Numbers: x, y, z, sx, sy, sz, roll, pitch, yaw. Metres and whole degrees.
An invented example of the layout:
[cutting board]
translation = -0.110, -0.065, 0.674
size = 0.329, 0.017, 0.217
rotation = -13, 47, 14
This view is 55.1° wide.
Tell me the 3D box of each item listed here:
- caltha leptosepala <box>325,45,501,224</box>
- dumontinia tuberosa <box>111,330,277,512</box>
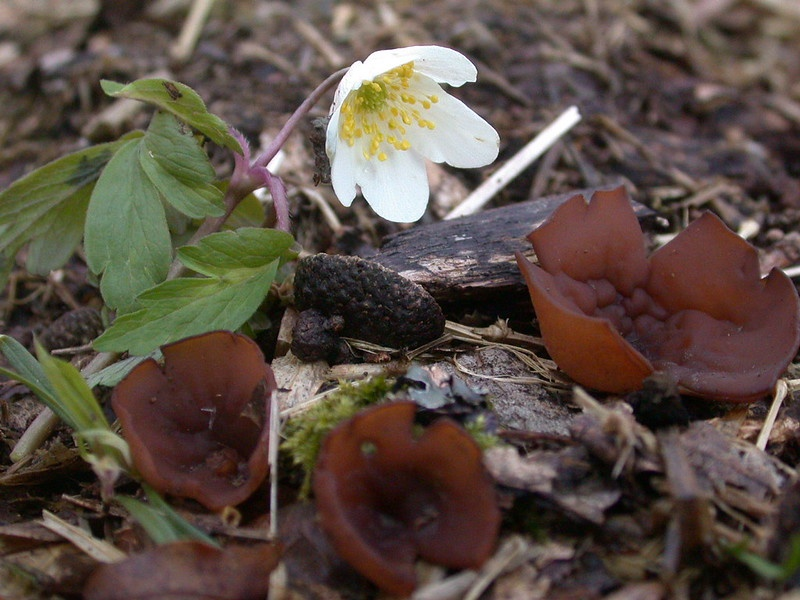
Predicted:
[caltha leptosepala]
translation = 0.043, -0.553, 2.538
size = 0.582, 0.478, 0.330
rotation = -9, 47, -8
[dumontinia tuberosa]
translation = -0.575, 0.342, 2.168
size = 0.448, 0.341, 0.391
rotation = 5, 47, 5
